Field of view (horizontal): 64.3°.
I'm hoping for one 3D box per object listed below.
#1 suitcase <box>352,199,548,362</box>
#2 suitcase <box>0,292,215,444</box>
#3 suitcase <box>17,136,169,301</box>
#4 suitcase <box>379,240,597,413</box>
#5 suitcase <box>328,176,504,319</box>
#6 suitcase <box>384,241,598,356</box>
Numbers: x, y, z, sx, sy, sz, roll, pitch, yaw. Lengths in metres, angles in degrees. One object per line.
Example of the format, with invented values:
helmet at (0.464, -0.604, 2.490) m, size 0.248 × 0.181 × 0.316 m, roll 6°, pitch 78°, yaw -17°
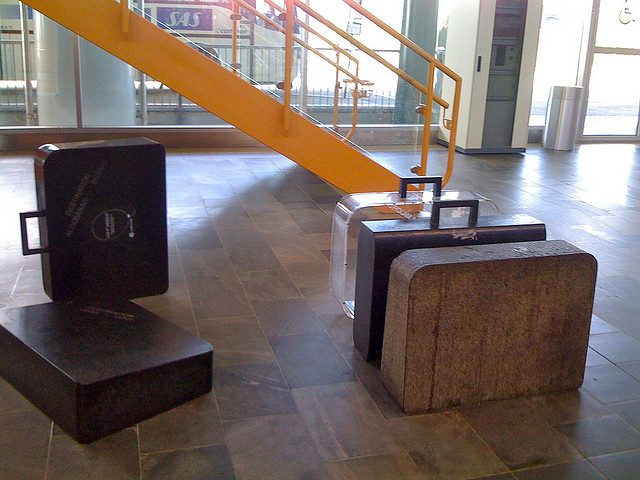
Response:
suitcase at (0.676, 0.156, 2.474) m, size 0.847 × 0.622 × 0.282 m, roll -4°, pitch 8°, yaw 11°
suitcase at (-0.978, 0.521, 2.280) m, size 0.842 × 0.313 × 0.579 m, roll 13°, pitch 21°, yaw 36°
suitcase at (-1.231, -0.065, 2.791) m, size 0.315 × 0.912 × 0.777 m, roll 16°, pitch 23°, yaw 36°
suitcase at (0.718, 0.381, 2.194) m, size 0.804 × 0.502 × 0.247 m, roll -4°, pitch 17°, yaw -14°
suitcase at (0.536, 0.006, 2.888) m, size 0.926 × 0.680 × 0.312 m, roll -6°, pitch 13°, yaw -12°
suitcase at (0.743, 0.316, 2.314) m, size 0.965 × 0.509 × 0.292 m, roll -2°, pitch 12°, yaw -15°
